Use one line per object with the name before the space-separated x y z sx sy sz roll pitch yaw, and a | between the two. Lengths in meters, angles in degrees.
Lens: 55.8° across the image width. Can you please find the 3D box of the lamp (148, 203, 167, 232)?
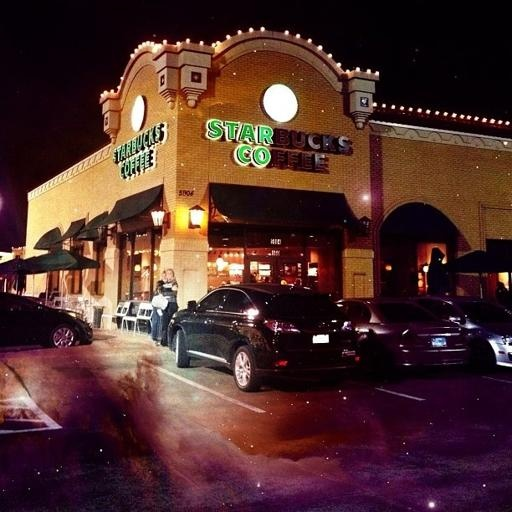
lamp | -3.256 -1.281 15.953 0.702 1.145 0.707 -1 -5 -3

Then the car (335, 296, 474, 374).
car | 2.812 1.605 9.524 1.173 1.043 2.893 0 -1 -17

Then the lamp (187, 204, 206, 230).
lamp | -1.935 -1.265 15.419 0.550 0.862 0.625 1 -5 -15

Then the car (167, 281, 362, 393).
car | -0.101 1.362 8.660 1.438 1.215 2.950 4 1 -28

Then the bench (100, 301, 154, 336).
bench | -4.756 2.224 17.945 1.071 1.186 4.338 3 -5 -26
